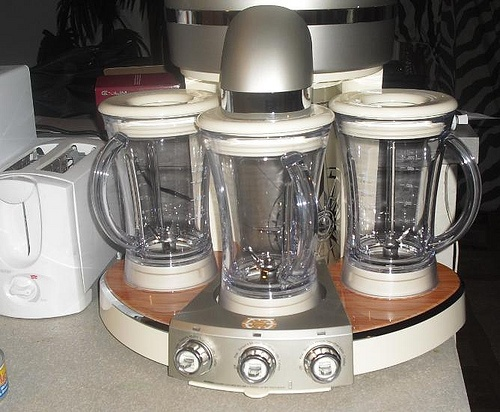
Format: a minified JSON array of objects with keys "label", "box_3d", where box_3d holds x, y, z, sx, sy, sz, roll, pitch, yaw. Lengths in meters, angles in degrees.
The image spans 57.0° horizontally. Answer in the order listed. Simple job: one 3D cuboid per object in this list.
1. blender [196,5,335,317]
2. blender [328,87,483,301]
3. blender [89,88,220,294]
[{"label":"blender","box_3d":[0.031,-0.048,0.581,0.185,0.376,0.151,-9,23,-15]},{"label":"blender","box_3d":[0.218,-0.017,0.670,0.213,0.288,0.169,-1,23,5]},{"label":"blender","box_3d":[-0.140,-0.020,0.716,0.161,0.285,0.226,13,19,34]}]
